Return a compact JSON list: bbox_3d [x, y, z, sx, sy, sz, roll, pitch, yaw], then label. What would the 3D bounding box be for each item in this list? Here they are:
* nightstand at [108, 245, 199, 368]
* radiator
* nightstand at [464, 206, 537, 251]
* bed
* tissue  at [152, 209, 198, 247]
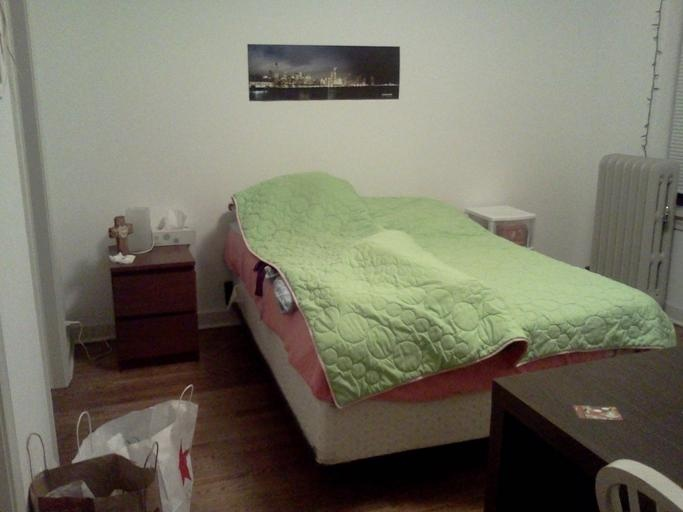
[{"bbox_3d":[-1.068,0.248,3.201,0.431,0.623,0.561,-4,12,-19],"label":"nightstand"},{"bbox_3d":[2.006,-0.188,3.712,0.310,1.030,0.494,-2,14,-8],"label":"radiator"},{"bbox_3d":[1.128,-0.251,3.738,0.313,0.345,0.335,-5,20,-11],"label":"nightstand"},{"bbox_3d":[0.168,0.106,2.659,1.431,0.732,1.752,-6,22,-18],"label":"bed"},{"bbox_3d":[-1.039,-0.164,3.300,0.219,0.198,0.222,3,25,-11],"label":"tissue "}]
